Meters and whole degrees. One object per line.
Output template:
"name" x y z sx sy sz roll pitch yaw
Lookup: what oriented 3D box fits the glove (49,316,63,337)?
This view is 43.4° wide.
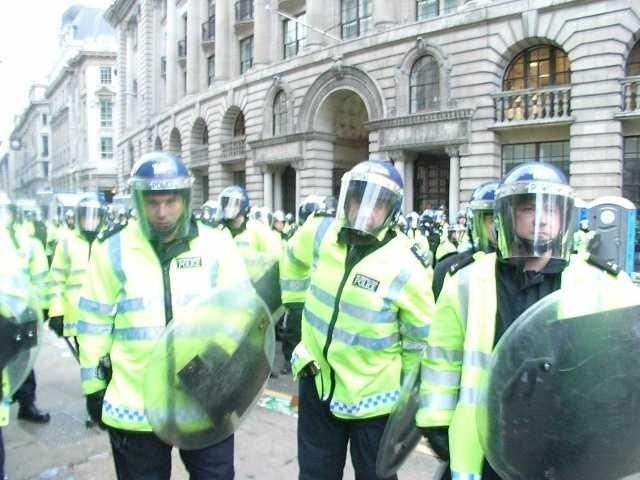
"glove" -3.325 1.098 10.232 0.173 0.256 0.081 -11 18 -10
